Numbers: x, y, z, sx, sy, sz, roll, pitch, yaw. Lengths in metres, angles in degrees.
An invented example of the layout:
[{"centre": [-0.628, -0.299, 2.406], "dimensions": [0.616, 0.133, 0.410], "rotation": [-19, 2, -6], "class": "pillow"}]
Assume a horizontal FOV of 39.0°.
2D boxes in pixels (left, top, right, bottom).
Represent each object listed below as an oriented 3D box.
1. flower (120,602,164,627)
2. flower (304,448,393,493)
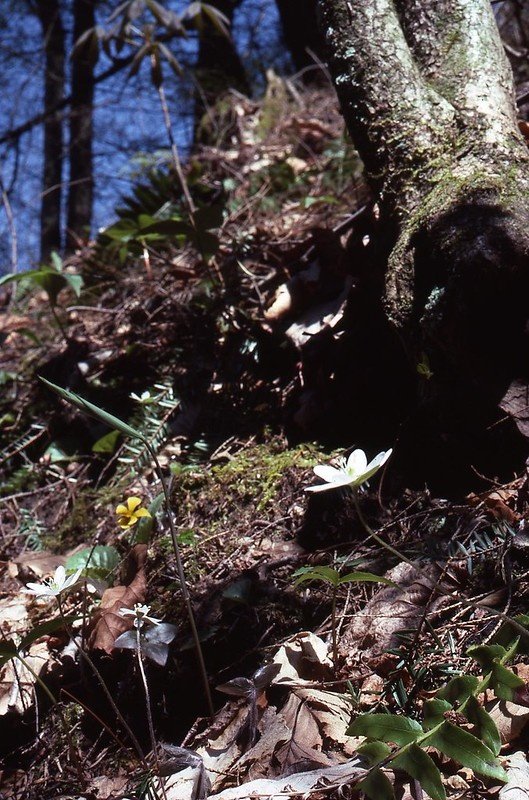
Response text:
[{"centre": [-0.331, 0.591, 2.040], "dimensions": [0.109, 0.084, 0.079], "rotation": [-4, 9, 8], "class": "flower"}, {"centre": [0.210, 0.183, 1.899], "dimensions": [0.189, 0.073, 0.195], "rotation": [-21, 3, 44], "class": "flower"}]
